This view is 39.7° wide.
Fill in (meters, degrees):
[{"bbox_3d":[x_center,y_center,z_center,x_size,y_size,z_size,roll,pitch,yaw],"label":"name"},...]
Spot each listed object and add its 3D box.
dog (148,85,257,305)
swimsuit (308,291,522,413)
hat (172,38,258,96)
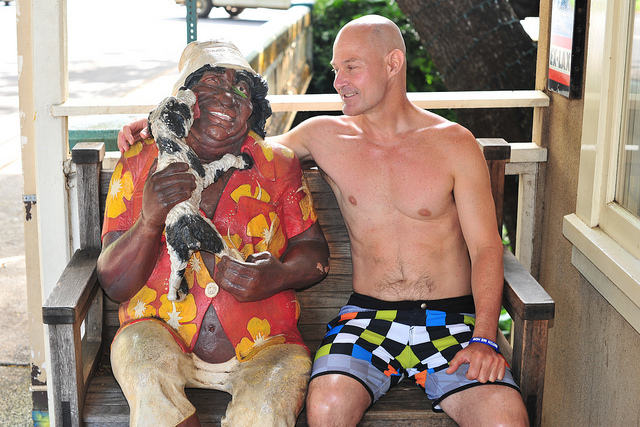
[{"bbox_3d":[-0.541,-0.084,4.067,0.444,0.992,0.303,-5,11,-12],"label":"dog"},{"bbox_3d":[0.403,0.660,4.235,0.876,0.484,0.388,-1,12,6],"label":"swimsuit"},{"bbox_3d":[-0.504,-0.687,4.119,0.309,0.162,0.291,-16,-29,-17],"label":"hat"}]
